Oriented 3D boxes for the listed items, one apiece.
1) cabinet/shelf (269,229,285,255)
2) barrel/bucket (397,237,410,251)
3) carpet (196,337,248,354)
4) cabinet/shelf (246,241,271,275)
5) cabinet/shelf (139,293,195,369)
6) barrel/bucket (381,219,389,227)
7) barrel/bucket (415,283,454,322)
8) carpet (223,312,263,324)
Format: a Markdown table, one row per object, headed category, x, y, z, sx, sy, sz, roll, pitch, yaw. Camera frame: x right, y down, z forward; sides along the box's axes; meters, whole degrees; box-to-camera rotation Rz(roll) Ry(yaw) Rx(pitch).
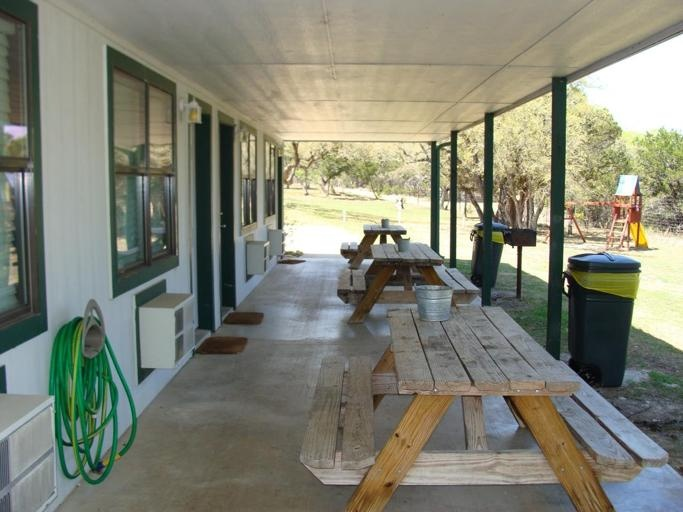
| category | x | y | z | sx | sy | sz | roll | pitch | yaw |
| --- | --- | --- | --- | --- | --- | --- | --- | --- | --- |
| cabinet/shelf | -1.380 | -0.290 | 10.107 | 0.321 | 0.538 | 0.583 | -1 | 0 | 1 |
| barrel/bucket | 0.815 | -0.148 | 6.292 | 0.155 | 0.167 | 0.285 | 2 | 9 | 5 |
| carpet | -1.361 | 1.021 | 5.520 | 0.544 | 0.031 | 0.593 | 1 | 9 | 3 |
| cabinet/shelf | -1.416 | 0.029 | 7.989 | 0.356 | 0.566 | 0.566 | -1 | 10 | -11 |
| cabinet/shelf | -1.410 | 0.592 | 3.823 | 0.345 | 0.539 | 0.666 | 0 | 3 | -4 |
| barrel/bucket | 0.844 | -0.630 | 9.156 | 0.139 | 0.141 | 0.141 | 2 | 7 | 0 |
| barrel/bucket | 0.595 | 0.282 | 3.007 | 0.240 | 0.175 | 0.221 | 1 | 4 | 0 |
| carpet | -1.327 | 0.853 | 6.611 | 0.541 | 0.019 | 0.599 | 1 | 9 | 2 |
